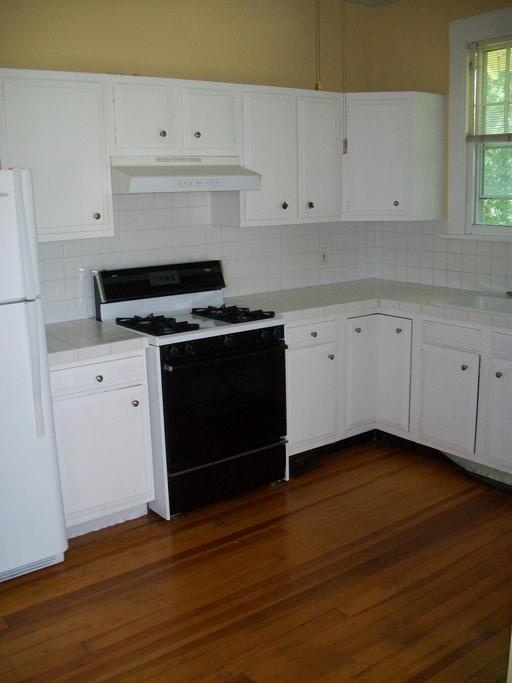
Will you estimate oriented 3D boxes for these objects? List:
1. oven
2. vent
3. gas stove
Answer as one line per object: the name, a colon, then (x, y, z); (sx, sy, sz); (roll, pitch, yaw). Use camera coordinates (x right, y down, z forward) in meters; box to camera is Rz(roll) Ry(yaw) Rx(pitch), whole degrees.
oven: (-0.314, 0.356, 2.952); (0.793, 0.905, 0.632); (-8, 11, -36)
vent: (-0.328, -0.842, 2.709); (0.756, 0.230, 0.227); (-8, 10, -35)
gas stove: (-0.343, -0.168, 2.866); (0.785, 0.166, 0.647); (-9, 11, -39)
